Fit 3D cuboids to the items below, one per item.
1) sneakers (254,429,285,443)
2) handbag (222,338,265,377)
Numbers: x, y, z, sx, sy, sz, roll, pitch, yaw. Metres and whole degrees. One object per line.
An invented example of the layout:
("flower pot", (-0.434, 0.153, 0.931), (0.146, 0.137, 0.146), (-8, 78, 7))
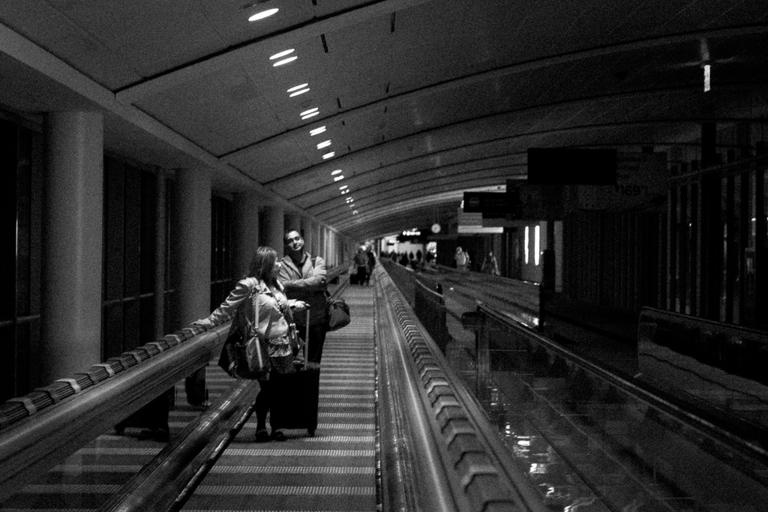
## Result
("sneakers", (-1.284, 2.016, 5.969), (0.371, 0.125, 0.146), (-2, -38, 0))
("handbag", (-1.463, 1.079, 5.668), (0.384, 0.391, 0.222), (-1, -14, 1))
